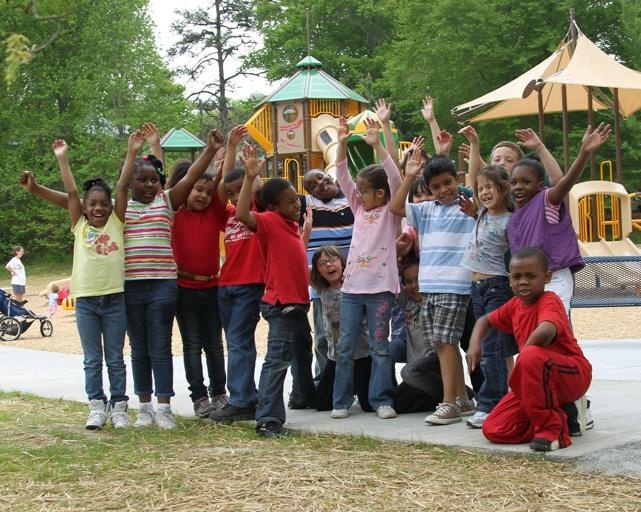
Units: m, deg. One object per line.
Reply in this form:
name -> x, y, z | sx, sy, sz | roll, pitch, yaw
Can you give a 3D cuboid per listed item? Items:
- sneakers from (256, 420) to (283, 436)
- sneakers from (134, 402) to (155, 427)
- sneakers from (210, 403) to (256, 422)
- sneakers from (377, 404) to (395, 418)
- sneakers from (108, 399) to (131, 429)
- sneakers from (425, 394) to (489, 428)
sneakers -> -0.333, 1.211, 5.648 | 0.217, 0.104, 0.232 | 0, -5, -15
sneakers -> -1.302, 1.183, 5.977 | 0.141, 0.157, 0.266 | -1, -5, -13
sneakers -> -0.652, 1.220, 6.194 | 0.394, 0.144, 0.129 | 4, -5, -18
sneakers -> 0.502, 1.189, 6.120 | 0.146, 0.091, 0.170 | -2, -5, 3
sneakers -> -1.463, 1.160, 5.891 | 0.129, 0.183, 0.259 | 0, -5, -17
sneakers -> 0.999, 1.151, 5.918 | 0.493, 0.146, 0.154 | 4, -15, -33
